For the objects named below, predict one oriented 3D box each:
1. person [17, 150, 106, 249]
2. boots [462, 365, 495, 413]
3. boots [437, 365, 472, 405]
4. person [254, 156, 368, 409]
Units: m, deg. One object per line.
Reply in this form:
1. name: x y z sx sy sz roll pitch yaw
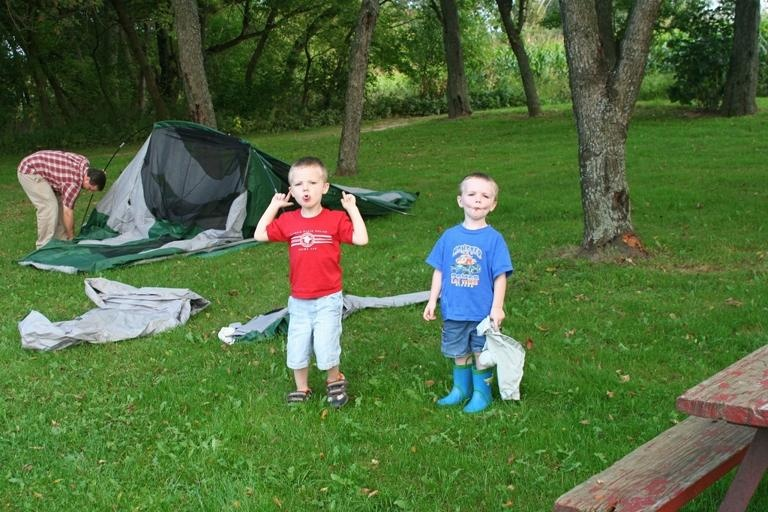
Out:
1. person: -5.787 -1.039 13.774 1.330 1.666 0.575 2 13 16
2. boots: 1.079 1.590 8.975 0.246 0.506 0.548 4 12 42
3. boots: 0.817 1.531 9.083 0.587 0.431 0.238 -5 5 -42
4. person: -0.837 0.287 9.011 1.170 2.835 0.838 -4 13 -10
